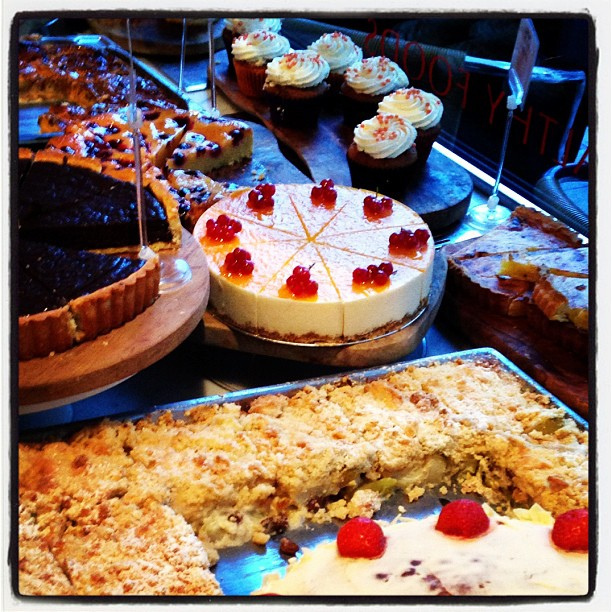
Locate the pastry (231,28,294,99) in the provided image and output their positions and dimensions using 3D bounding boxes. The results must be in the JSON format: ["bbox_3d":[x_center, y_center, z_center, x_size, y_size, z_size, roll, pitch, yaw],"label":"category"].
[{"bbox_3d":[-0.274,-1.617,3.981,0.466,0.378,0.403,15,30,30],"label":"pastry"}]

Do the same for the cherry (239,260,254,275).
[{"bbox_3d":[-0.228,-0.147,2.311,0.059,0.051,0.052,10,45,5],"label":"cherry"}]

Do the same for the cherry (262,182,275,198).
[{"bbox_3d":[-0.174,-0.538,2.798,0.073,0.072,0.067,0,4,-8],"label":"cherry"}]

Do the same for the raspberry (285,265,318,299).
[{"bbox_3d":[-0.015,-0.087,2.221,0.124,0.089,0.103,1,28,-2],"label":"raspberry"}]

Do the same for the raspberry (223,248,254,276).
[{"bbox_3d":[-0.260,-0.161,2.318,0.096,0.053,0.108,8,41,-4],"label":"raspberry"}]

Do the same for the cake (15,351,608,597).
[{"bbox_3d":[0.048,0.483,1.716,1.594,0.239,0.662,-8,28,-20],"label":"cake"}]

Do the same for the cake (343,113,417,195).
[{"bbox_3d":[0.353,-0.750,3.087,0.409,0.407,0.393,-6,45,-2],"label":"cake"}]

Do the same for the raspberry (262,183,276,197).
[{"bbox_3d":[-0.187,-0.544,2.819,0.069,0.068,0.063,1,9,-11],"label":"raspberry"}]

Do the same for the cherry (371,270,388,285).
[{"bbox_3d":[0.285,-0.111,2.285,0.058,0.046,0.052,-18,34,-34],"label":"cherry"}]

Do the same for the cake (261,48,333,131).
[{"bbox_3d":[-0.049,-1.334,3.709,0.493,0.460,0.489,0,31,-1],"label":"cake"}]

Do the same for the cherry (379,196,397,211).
[{"bbox_3d":[0.380,-0.474,2.771,0.071,0.036,0.063,-11,40,-15],"label":"cherry"}]

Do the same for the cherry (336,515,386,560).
[{"bbox_3d":[0.137,0.587,1.534,0.091,0.073,0.092,-42,58,3],"label":"cherry"}]

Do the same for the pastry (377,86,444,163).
[{"bbox_3d":[0.538,-0.998,3.266,0.400,0.415,0.404,-8,34,-8],"label":"pastry"}]

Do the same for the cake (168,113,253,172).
[{"bbox_3d":[-0.524,-0.850,3.312,0.355,0.144,0.438,22,39,24],"label":"cake"}]

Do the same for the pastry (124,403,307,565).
[{"bbox_3d":[-0.269,0.464,1.695,0.367,0.132,0.434,-16,49,-33],"label":"pastry"}]

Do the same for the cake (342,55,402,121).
[{"bbox_3d":[0.362,-1.327,3.526,0.432,0.321,0.377,-4,36,-3],"label":"cake"}]

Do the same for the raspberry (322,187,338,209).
[{"bbox_3d":[0.109,-0.507,2.810,0.107,0.089,0.093,-2,34,-4],"label":"raspberry"}]
